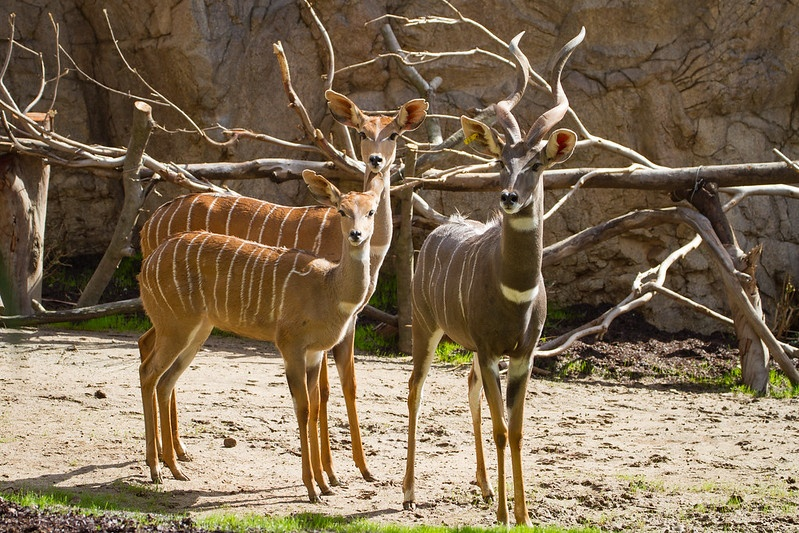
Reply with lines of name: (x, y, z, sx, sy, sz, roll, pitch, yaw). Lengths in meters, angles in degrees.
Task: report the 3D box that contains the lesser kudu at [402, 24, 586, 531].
lesser kudu: (0.823, 0.064, 11.058, 0.885, 4.450, 1.746, 2, -2, -43)
